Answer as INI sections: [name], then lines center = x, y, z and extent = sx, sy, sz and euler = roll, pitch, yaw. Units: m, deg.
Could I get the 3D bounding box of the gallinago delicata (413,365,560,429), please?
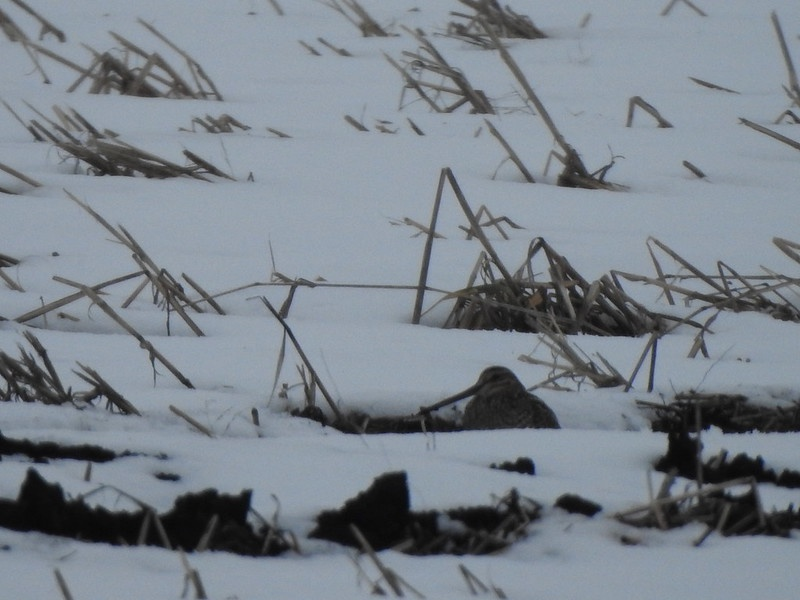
[gallinago delicata]
center = 0.340, 0.416, 8.417
extent = 0.625, 0.252, 0.204
euler = -4, -6, 8
